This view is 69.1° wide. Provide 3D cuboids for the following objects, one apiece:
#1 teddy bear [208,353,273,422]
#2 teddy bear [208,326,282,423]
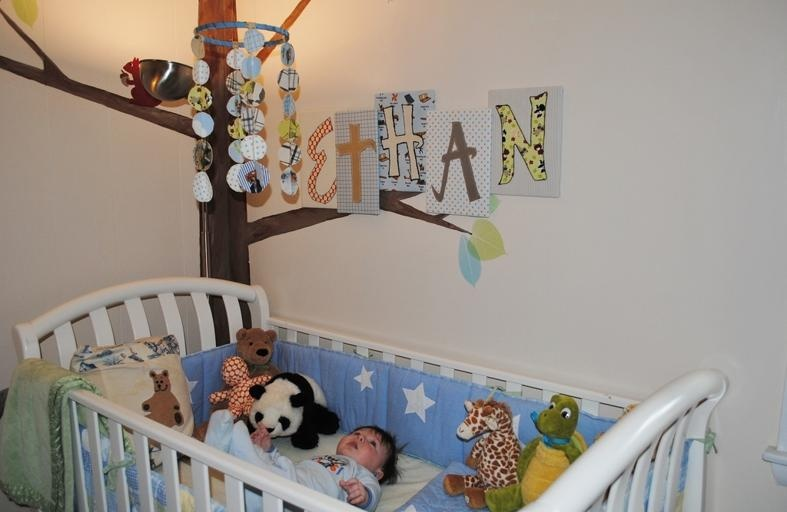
[{"bbox_3d":[-0.752,0.635,2.857,0.341,0.375,0.236,-14,-18,28],"label":"teddy bear"},{"bbox_3d":[-0.744,0.598,2.923,0.411,0.528,0.337,5,-12,-21],"label":"teddy bear"}]
